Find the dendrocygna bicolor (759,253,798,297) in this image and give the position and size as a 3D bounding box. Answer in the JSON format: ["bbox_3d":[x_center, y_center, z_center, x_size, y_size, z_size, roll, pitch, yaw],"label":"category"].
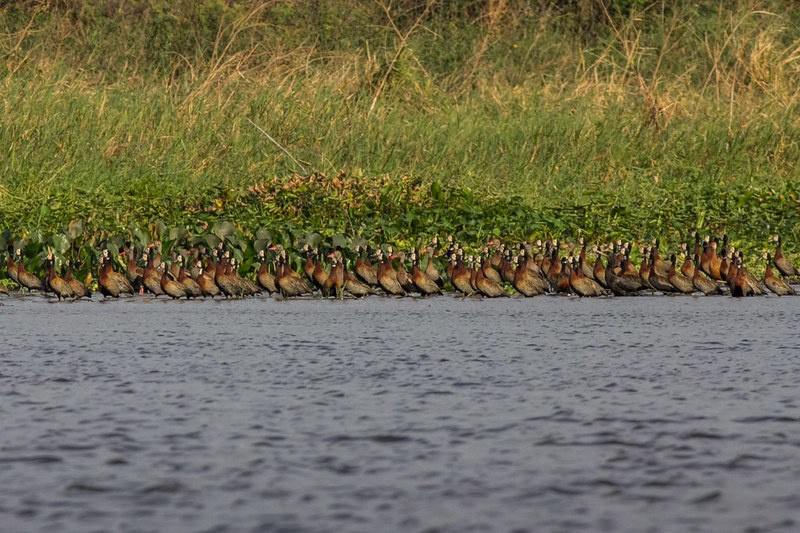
[{"bbox_3d":[4.868,0.101,18.433,0.468,0.533,0.408,4,7,32],"label":"dendrocygna bicolor"}]
